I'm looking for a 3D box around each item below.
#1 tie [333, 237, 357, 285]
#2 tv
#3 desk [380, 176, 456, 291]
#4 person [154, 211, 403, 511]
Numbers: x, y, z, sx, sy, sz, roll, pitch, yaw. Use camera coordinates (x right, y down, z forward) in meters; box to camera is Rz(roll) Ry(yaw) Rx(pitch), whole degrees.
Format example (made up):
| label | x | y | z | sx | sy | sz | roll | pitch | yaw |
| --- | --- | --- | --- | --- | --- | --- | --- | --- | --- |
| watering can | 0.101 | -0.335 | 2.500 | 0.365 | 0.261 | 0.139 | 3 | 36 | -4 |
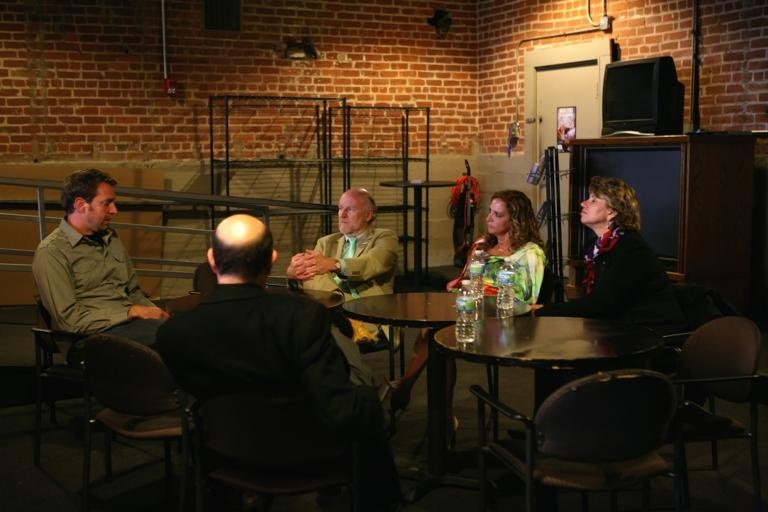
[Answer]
| label | x | y | z | sx | sy | sz | roll | pitch | yaw |
| --- | --- | --- | --- | --- | --- | --- | --- | --- | --- |
| tie | -0.281 | 0.019 | 4.903 | 0.123 | 0.298 | 0.224 | 18 | -12 | -42 |
| tv | 2.379 | -1.469 | 6.347 | 0.729 | 0.696 | 0.435 | 4 | 9 | 22 |
| desk | 0.203 | -0.335 | 8.346 | 1.171 | 1.370 | 1.147 | -4 | 9 | -23 |
| person | -0.455 | 0.498 | 3.060 | 1.049 | 1.316 | 0.306 | 1 | 8 | 6 |
